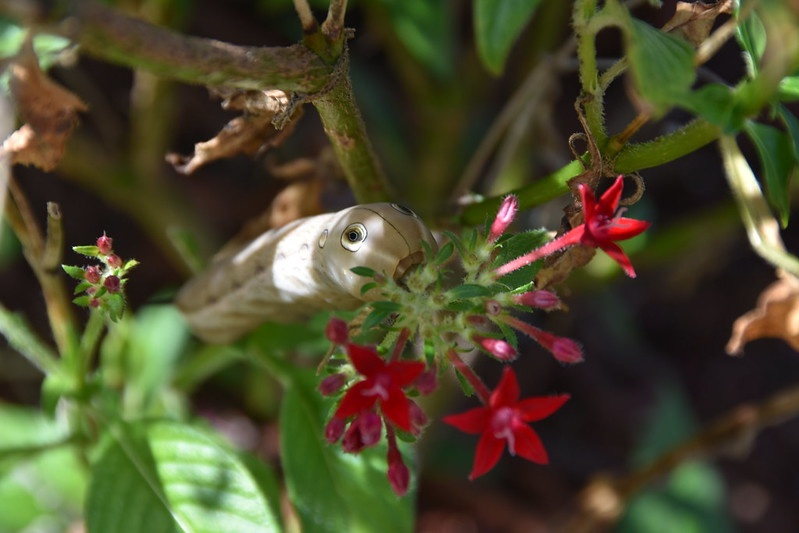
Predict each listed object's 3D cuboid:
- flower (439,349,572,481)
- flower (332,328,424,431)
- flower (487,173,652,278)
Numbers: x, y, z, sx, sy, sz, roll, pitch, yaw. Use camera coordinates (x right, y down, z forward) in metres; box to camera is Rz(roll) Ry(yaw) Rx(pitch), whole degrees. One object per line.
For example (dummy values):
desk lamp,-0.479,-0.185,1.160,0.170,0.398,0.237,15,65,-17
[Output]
flower,0.210,0.321,1.895,0.231,0.293,0.131,-47,134,-10
flower,-0.040,0.248,1.849,0.070,0.199,0.196,6,86,-30
flower,0.391,-0.071,2.026,0.191,0.306,0.186,8,80,-35
